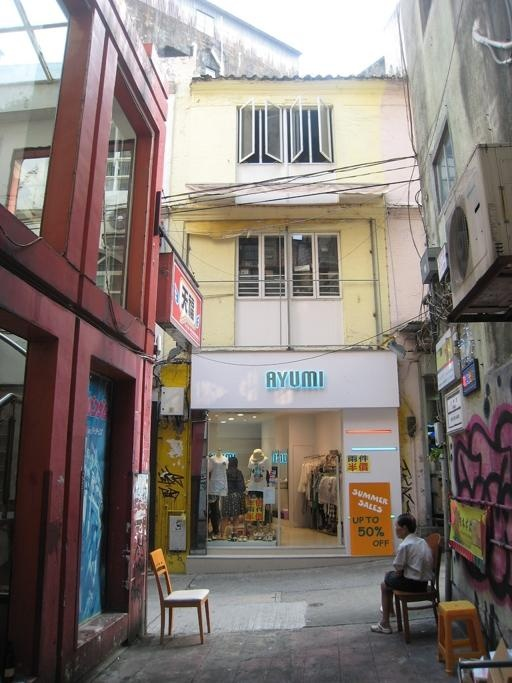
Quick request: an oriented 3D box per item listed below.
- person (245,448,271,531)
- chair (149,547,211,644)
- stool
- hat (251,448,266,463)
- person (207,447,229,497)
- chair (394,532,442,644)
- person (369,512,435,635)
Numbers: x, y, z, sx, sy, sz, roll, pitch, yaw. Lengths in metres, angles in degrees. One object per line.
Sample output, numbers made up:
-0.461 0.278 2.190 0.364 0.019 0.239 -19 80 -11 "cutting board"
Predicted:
0.058 3.277 10.832 0.437 2.123 0.381 6 25 12 "person"
-0.850 2.823 5.307 0.526 1.031 0.580 -10 -13 13 "chair"
1.613 2.331 3.744 0.302 0.472 0.358 -5 -14 -13 "stool"
0.048 2.763 11.395 0.441 0.226 0.538 -2 8 10 "hat"
-0.858 2.955 10.535 0.591 1.501 0.414 7 -21 -21 "person"
1.704 2.465 4.907 0.460 1.138 0.585 1 -1 -4 "chair"
1.505 2.401 4.871 0.649 1.154 0.524 -7 -14 21 "person"
